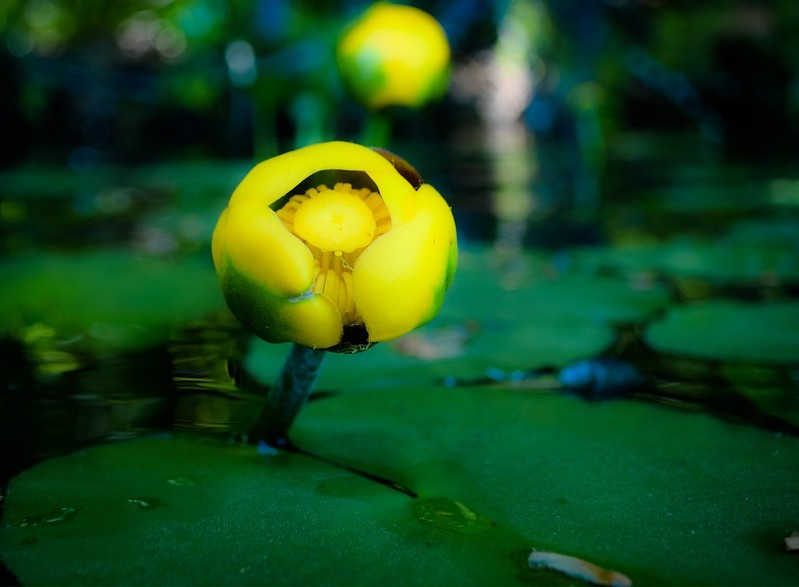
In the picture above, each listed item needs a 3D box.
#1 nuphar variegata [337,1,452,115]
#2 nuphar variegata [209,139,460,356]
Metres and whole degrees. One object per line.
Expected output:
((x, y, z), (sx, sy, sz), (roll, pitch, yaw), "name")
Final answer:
((-0.002, -0.196, 0.638), (0.092, 0.082, 0.044), (1, 11, -34), "nuphar variegata")
((-0.045, -0.027, 0.495), (0.139, 0.151, 0.149), (-2, 17, -9), "nuphar variegata")
